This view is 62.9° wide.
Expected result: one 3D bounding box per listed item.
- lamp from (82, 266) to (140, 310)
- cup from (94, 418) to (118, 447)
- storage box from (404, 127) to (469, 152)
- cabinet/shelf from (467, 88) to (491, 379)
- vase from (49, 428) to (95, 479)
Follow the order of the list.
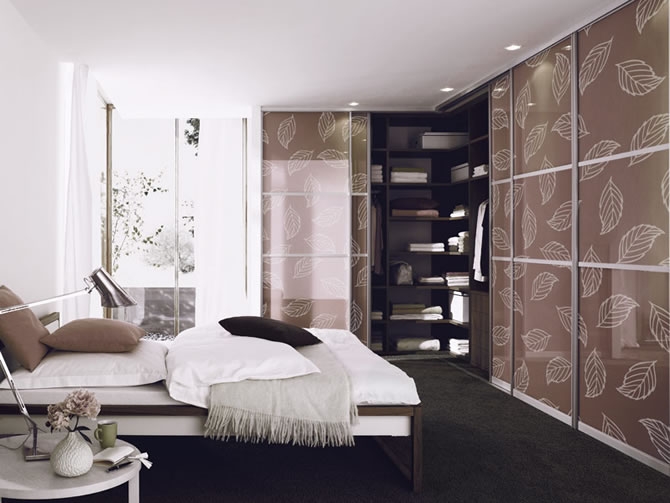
[{"bbox_3d":[-1.129,0.178,2.737,0.211,0.195,0.263,-4,7,-36],"label":"lamp"},{"bbox_3d":[-1.130,0.923,2.777,0.093,0.135,0.145,1,1,11],"label":"cup"},{"bbox_3d":[1.155,-1.303,6.269,0.762,0.307,0.623,3,6,21],"label":"storage box"},{"bbox_3d":[1.455,-0.171,5.549,0.226,2.778,0.679,1,6,9],"label":"cabinet/shelf"},{"bbox_3d":[-1.238,0.956,2.573,0.192,0.200,0.192,1,-15,-2],"label":"vase"}]
